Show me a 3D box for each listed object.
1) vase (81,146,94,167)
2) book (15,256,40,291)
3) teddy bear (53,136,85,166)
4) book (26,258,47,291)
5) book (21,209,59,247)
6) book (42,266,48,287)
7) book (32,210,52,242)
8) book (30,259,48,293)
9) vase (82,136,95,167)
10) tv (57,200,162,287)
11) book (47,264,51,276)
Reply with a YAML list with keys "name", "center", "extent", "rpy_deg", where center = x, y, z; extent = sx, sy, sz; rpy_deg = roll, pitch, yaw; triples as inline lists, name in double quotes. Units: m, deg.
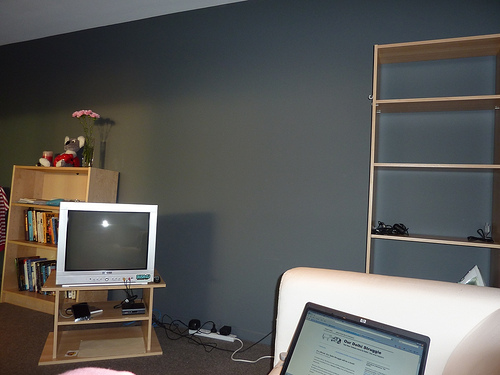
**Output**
- name: "vase"
  center: [-1.796, -0.339, 4.342]
  extent: [0.105, 0.224, 0.195]
  rpy_deg: [1, 9, -19]
- name: "book"
  center: [-2.490, 0.930, 4.447]
  extent: [0.253, 0.387, 0.370]
  rpy_deg: [-1, 3, -24]
- name: "teddy bear"
  center: [-2.027, -0.379, 4.381]
  extent: [0.330, 0.447, 0.237]
  rpy_deg: [0, -8, 25]
- name: "book"
  center: [-2.263, 0.932, 4.141]
  extent: [0.166, 0.313, 0.313]
  rpy_deg: [1, 1, 6]
- name: "book"
  center: [-2.315, 0.439, 4.402]
  extent: [0.225, 0.337, 0.369]
  rpy_deg: [1, -3, 15]
- name: "book"
  center: [-2.178, 0.928, 4.162]
  extent: [0.046, 0.181, 0.077]
  rpy_deg: [-4, 11, -43]
- name: "book"
  center: [-2.260, 0.426, 4.259]
  extent: [0.170, 0.312, 0.314]
  rpy_deg: [2, 3, 5]
- name: "book"
  center: [-2.308, 0.959, 4.365]
  extent: [0.225, 0.320, 0.319]
  rpy_deg: [1, 3, -11]
- name: "vase"
  center: [-1.772, -0.388, 4.289]
  extent: [0.119, 0.328, 0.362]
  rpy_deg: [0, 9, -19]
- name: "tv"
  center: [-1.240, 0.505, 3.667]
  extent: [1.116, 1.019, 0.633]
  rpy_deg: [3, -9, -9]
- name: "book"
  center: [-2.117, 0.877, 4.127]
  extent: [0.033, 0.090, 0.159]
  rpy_deg: [-1, 9, -28]
